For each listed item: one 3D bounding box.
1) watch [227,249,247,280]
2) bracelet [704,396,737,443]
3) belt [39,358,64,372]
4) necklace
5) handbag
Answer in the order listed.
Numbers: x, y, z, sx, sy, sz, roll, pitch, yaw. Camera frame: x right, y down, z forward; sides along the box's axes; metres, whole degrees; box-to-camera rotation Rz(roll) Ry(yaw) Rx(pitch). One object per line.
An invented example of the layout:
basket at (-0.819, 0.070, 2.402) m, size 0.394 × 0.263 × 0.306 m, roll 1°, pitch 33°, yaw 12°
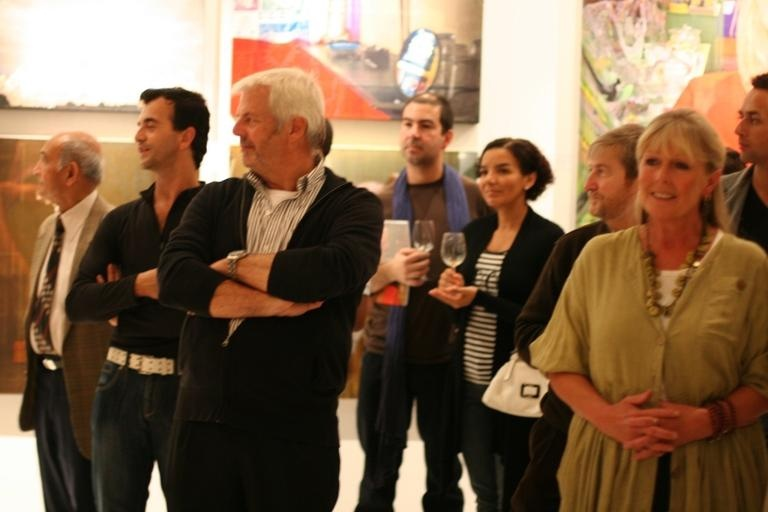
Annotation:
watch at (-0.651, 0.027, 3.098) m, size 0.095 × 0.099 × 0.113 m, roll 0°, pitch -9°, yaw -1°
bracelet at (1.330, 0.637, 2.755) m, size 0.121 × 0.063 × 0.144 m, roll -10°, pitch 13°, yaw 7°
belt at (-1.959, 0.632, 4.118) m, size 0.136 × 0.089 × 0.036 m, roll 5°, pitch 6°, yaw 28°
necklace at (1.223, 0.074, 2.960) m, size 0.261 × 0.374 × 0.095 m, roll 9°, pitch -12°, yaw 18°
handbag at (0.657, 0.686, 3.682) m, size 0.295 × 0.348 × 0.353 m, roll 10°, pitch -18°, yaw 7°
